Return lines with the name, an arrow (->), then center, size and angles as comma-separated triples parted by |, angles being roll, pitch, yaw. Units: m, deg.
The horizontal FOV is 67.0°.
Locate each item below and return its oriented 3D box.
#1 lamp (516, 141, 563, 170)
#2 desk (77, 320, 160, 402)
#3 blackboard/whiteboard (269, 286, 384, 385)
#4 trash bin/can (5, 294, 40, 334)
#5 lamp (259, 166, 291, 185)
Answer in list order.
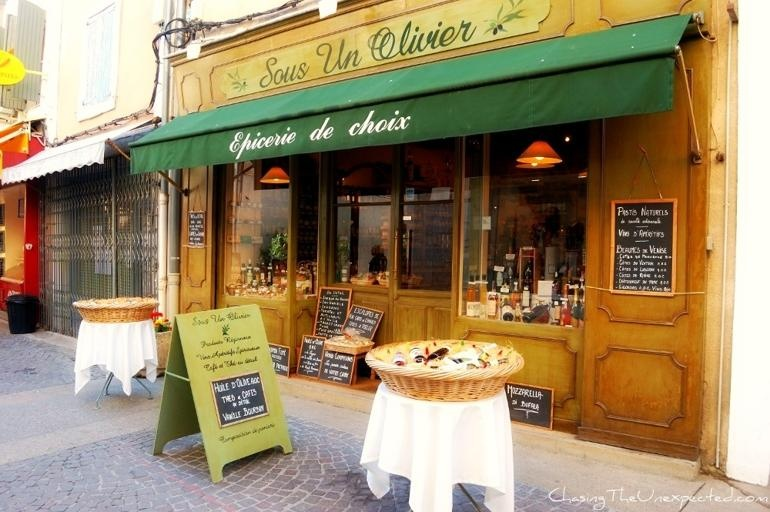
lamp -> 1.981, -1.292, 7.531 | 0.390, 0.189, 0.393 | 2, 1, 30
desk -> -3.825, 1.482, 8.282 | 1.079, 1.134, 0.623 | -4, 11, -22
blackboard/whiteboard -> -0.855, 1.271, 8.852 | 1.464, 1.225, 0.616 | -1, -4, 41
trash bin/can -> -8.570, 1.401, 13.982 | 0.848, 0.918, 0.843 | 1, 2, -31
lamp -> -1.805, -1.305, 9.691 | 0.370, 0.155, 0.372 | 2, 5, 19
